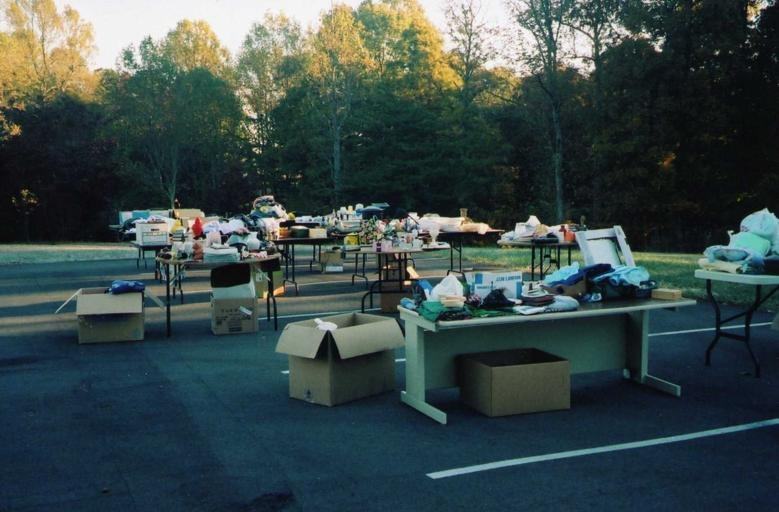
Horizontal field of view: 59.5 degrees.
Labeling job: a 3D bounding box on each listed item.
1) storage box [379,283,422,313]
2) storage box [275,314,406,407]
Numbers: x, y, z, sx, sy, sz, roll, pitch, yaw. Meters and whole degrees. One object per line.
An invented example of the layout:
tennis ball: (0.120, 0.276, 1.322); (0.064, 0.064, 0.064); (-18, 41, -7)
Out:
storage box: (0.091, 0.687, 12.163); (0.639, 0.634, 0.395); (-1, -1, 3)
storage box: (-0.625, 1.306, 8.936); (1.060, 0.965, 1.582); (1, 2, 43)
